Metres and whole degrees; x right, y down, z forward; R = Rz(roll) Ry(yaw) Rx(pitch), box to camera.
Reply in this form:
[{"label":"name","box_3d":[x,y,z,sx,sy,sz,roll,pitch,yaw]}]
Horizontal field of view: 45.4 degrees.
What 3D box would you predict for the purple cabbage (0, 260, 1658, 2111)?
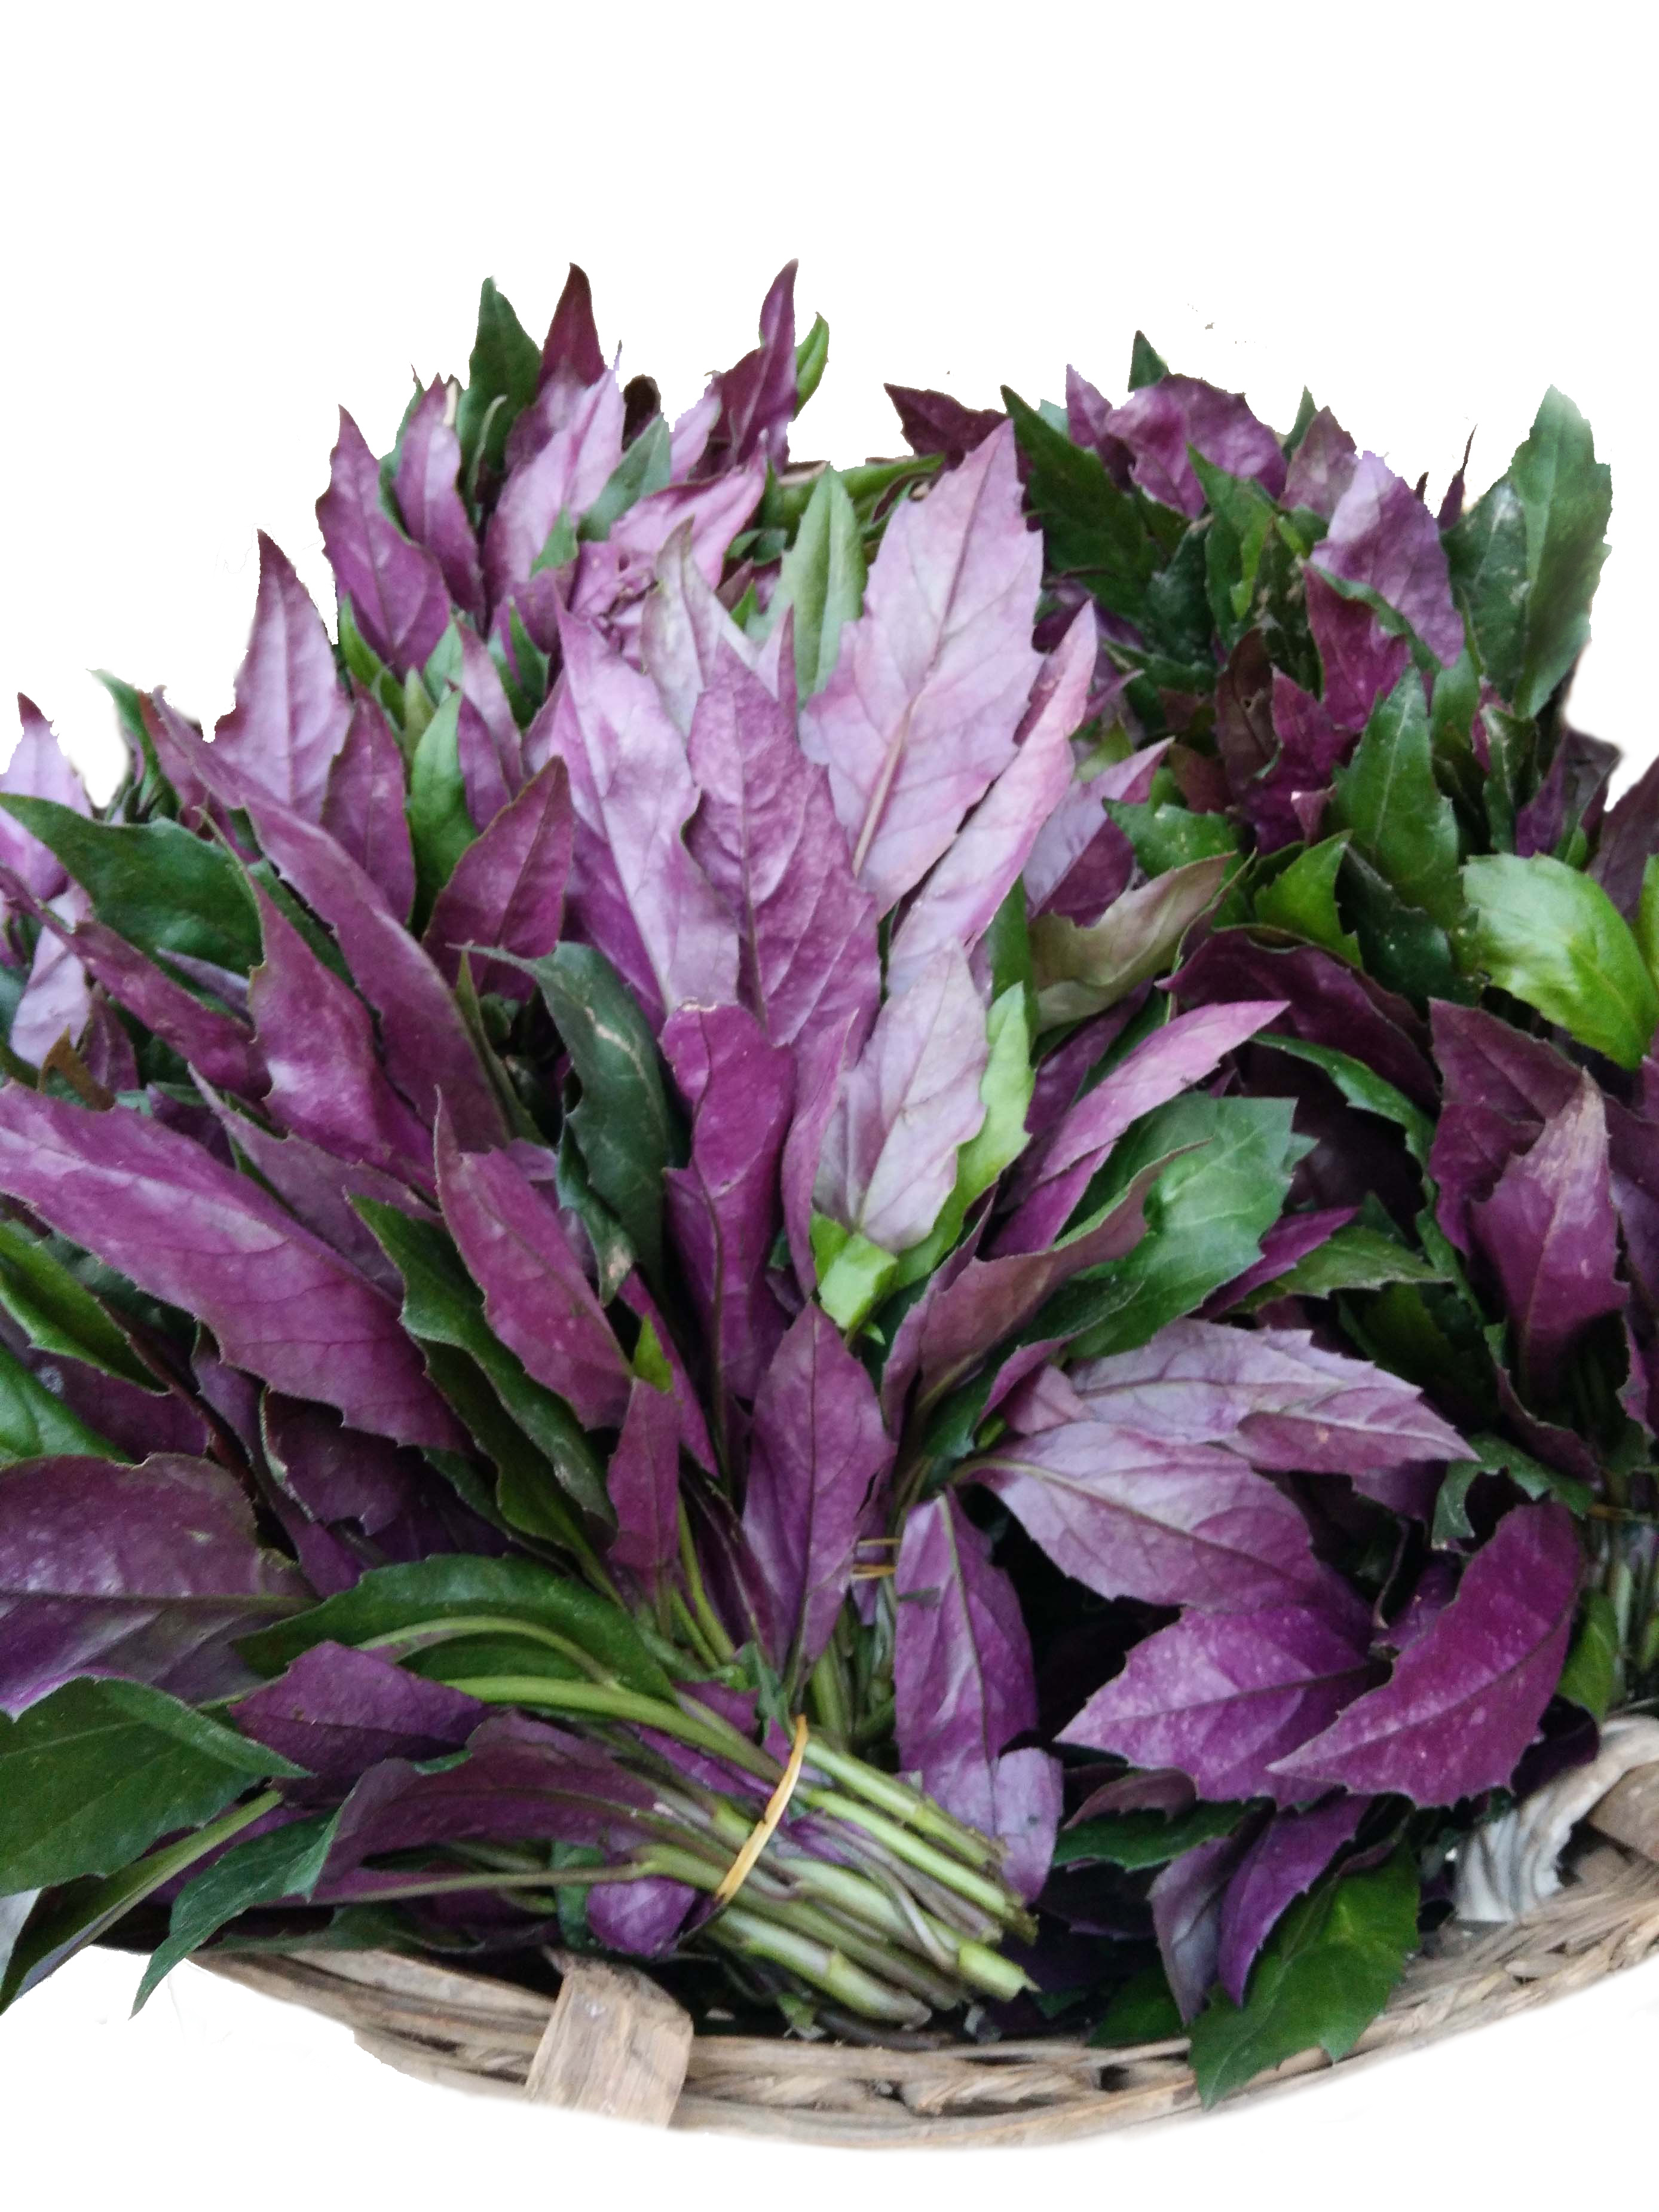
[{"label":"purple cabbage","box_3d":[0.019,-0.016,0.953,0.776,0.682,0.366,-1,-9,-4]}]
